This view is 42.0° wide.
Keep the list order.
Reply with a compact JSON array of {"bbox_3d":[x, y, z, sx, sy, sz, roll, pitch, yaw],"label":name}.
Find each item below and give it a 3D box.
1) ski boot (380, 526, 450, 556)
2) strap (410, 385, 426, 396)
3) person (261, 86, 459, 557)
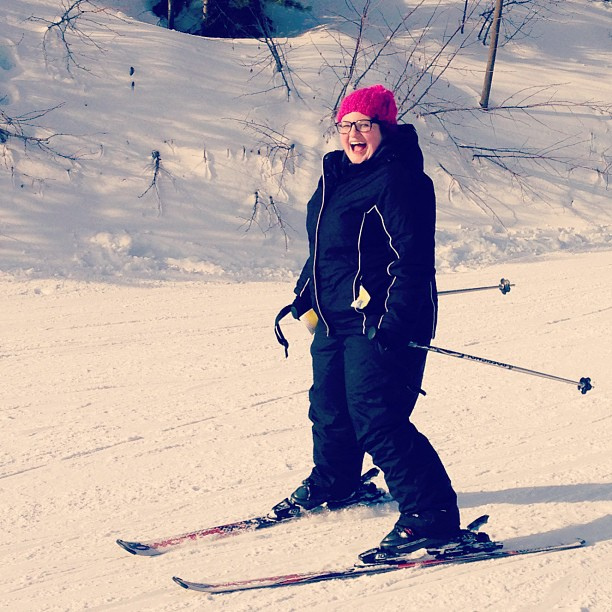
[{"bbox_3d":[0.633,1.368,4.639,0.385,0.168,0.087,7,19,6],"label":"ski boot"},{"bbox_3d":[0.642,0.483,4.585,0.145,0.025,0.041,16,1,33],"label":"strap"},{"bbox_3d":[0.396,0.127,4.584,0.681,2.706,1.237,-5,24,-35],"label":"person"}]
